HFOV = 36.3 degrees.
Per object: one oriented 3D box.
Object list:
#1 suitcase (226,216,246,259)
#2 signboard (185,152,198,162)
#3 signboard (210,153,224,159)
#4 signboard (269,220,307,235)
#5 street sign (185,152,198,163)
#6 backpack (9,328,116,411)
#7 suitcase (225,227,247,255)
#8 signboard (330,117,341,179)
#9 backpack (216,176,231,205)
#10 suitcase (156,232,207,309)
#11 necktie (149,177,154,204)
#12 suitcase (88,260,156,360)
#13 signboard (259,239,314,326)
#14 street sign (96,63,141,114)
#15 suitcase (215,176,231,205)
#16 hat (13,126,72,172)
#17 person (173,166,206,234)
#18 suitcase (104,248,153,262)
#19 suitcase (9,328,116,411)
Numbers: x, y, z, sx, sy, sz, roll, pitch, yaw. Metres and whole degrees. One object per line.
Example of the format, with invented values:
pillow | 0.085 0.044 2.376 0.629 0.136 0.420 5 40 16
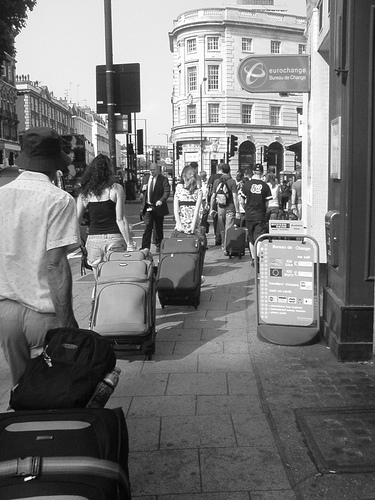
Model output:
suitcase | 0.990 -0.139 11.737 0.403 0.692 0.439 -1 5 6
signboard | 0.360 -9.908 61.217 0.502 0.960 2.250 -4 7 -31
signboard | 3.017 -9.719 59.504 1.336 0.591 0.377 1 6 23
signboard | 1.017 -0.225 5.839 0.357 0.137 0.289 -1 6 5
street sign | 0.357 -9.918 61.221 0.502 0.978 2.354 -4 7 -31
backpack | -0.490 0.495 2.332 0.283 0.168 0.384 3 40 8
suitcase | 0.980 -0.174 11.742 0.454 0.933 0.456 0 -5 5
signboard | 1.336 -0.908 5.191 0.025 0.578 0.512 3 12 25
backpack | 0.775 -1.261 12.606 0.290 0.572 0.515 2 19 4
suitcase | -0.066 0.360 7.683 0.541 1.064 0.996 -3 -16 11
necktie | -0.764 -1.230 11.990 0.083 0.527 0.249 -1 5 -1
suitcase | -0.605 0.475 5.446 0.626 0.571 1.301 -2 34 2
signboard | 0.991 0.312 5.771 0.621 1.134 0.088 2 26 16
street sign | -1.201 -2.700 9.614 0.759 0.951 0.087 -3 -20 -6
suitcase | 0.772 -1.256 12.603 0.274 0.553 0.522 2 14 5
hat | -0.728 -0.508 2.876 0.283 0.237 0.277 -3 6 -16
person | 0.003 -0.829 9.418 0.531 1.095 0.593 1 6 26
suitcase | -0.620 0.076 5.868 0.480 0.102 0.387 -3 6 -12
suitcase | -0.512 0.517 2.392 0.368 0.318 0.365 0 6 14
